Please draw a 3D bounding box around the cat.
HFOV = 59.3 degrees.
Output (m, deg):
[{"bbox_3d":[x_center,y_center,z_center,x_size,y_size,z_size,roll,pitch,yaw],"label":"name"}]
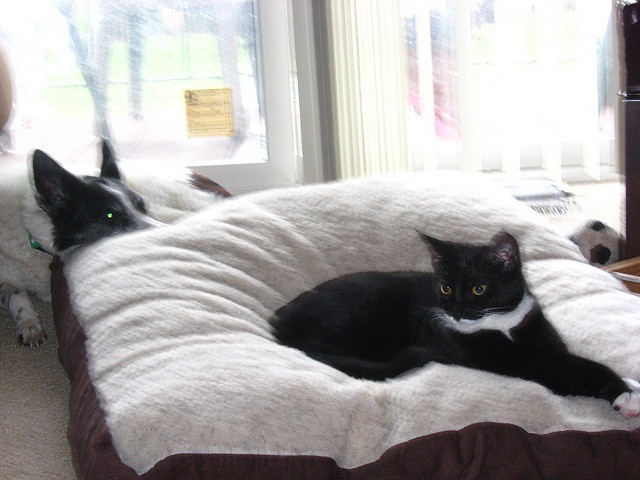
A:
[{"bbox_3d":[0.158,0.085,0.706,0.393,0.143,0.203,3,2,16],"label":"cat"}]
